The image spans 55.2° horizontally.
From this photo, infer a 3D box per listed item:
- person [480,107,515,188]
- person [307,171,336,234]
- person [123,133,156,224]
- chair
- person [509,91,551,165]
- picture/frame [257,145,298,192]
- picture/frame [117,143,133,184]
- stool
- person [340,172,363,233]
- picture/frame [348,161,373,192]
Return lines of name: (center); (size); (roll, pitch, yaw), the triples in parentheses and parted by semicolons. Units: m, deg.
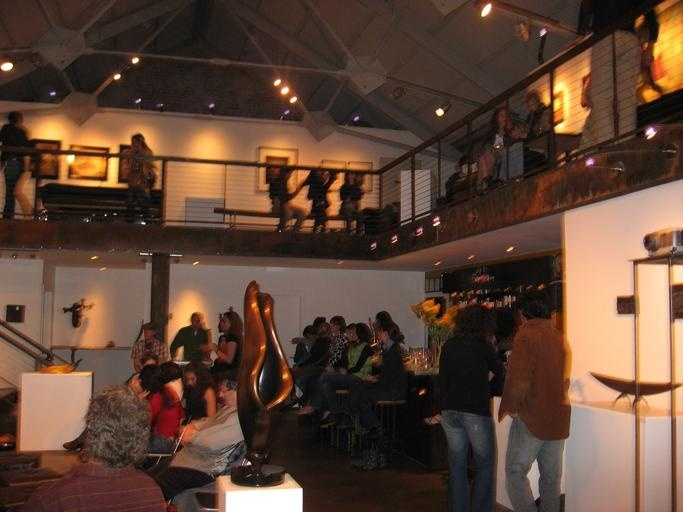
person: (1.924, -1.363, 8.165); (0.398, 1.055, 0.922); (0, -5, 12)
person: (-0.328, -0.936, 11.244); (0.476, 1.064, 0.446); (1, -5, -2)
person: (-3.144, -1.251, 10.352); (0.432, 1.424, 0.693); (3, -5, -19)
chair: (-1.722, 1.710, 5.656); (1.766, 1.165, 1.063); (5, -12, -10)
person: (2.218, -1.485, 7.681); (0.554, 0.878, 0.609); (2, 18, 19)
picture/frame: (-1.298, -1.804, 13.484); (0.823, 0.975, 0.086); (0, 33, -10)
picture/frame: (-4.174, -1.799, 12.698); (0.030, 0.671, 0.353); (6, 5, 19)
stool: (0.371, 2.247, 8.648); (0.833, 0.625, 0.865); (0, -18, -4)
person: (0.186, -0.951, 11.402); (0.386, 1.067, 0.411); (1, -5, 0)
picture/frame: (0.479, -1.765, 13.375); (0.679, 0.802, 0.182); (-3, -3, 5)
